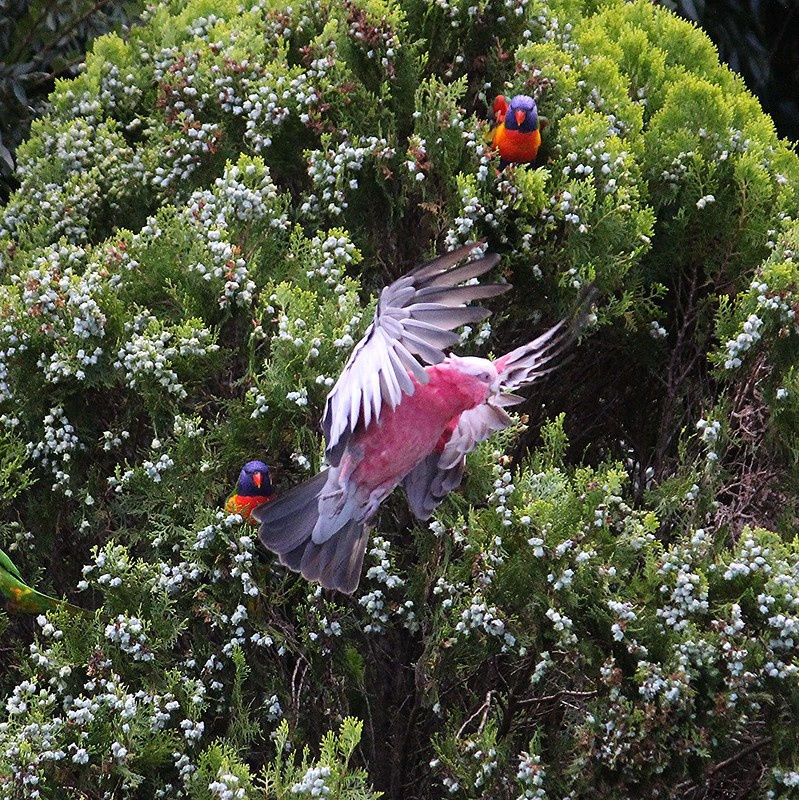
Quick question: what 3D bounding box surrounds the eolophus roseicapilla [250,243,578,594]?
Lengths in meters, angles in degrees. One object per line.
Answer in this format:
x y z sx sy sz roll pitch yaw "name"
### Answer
0.000 0.080 5.971 1.016 1.276 0.523 -5 14 -10 "eolophus roseicapilla"
